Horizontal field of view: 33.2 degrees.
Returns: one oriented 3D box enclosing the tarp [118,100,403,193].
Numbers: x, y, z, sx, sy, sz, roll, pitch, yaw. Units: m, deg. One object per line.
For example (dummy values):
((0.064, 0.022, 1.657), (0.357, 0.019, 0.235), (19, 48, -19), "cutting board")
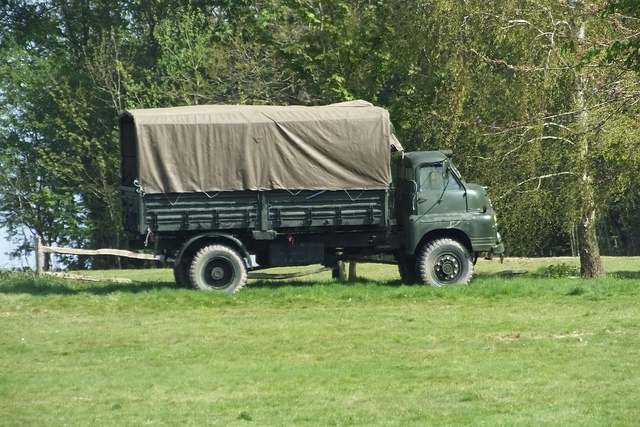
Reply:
((-1.687, -1.984, 38.710), (9.221, 3.247, 5.753), (-2, -1, 1), "tarp")
